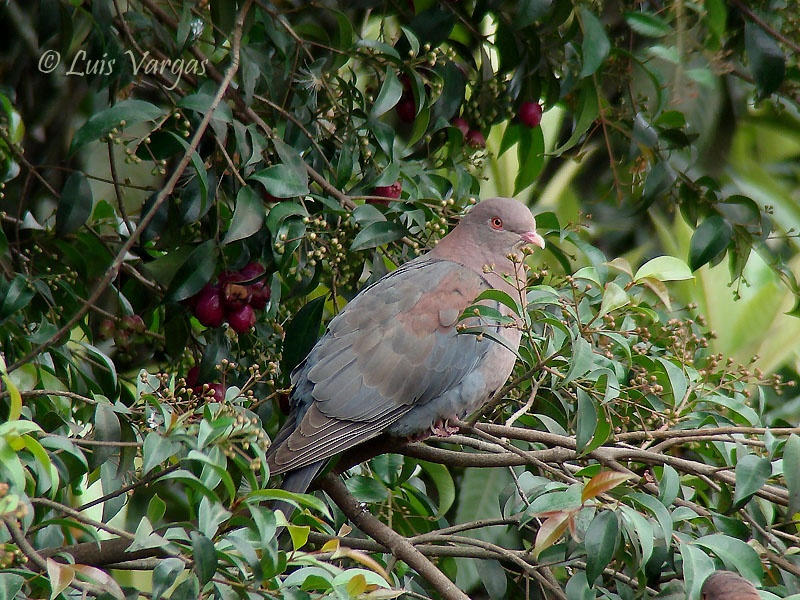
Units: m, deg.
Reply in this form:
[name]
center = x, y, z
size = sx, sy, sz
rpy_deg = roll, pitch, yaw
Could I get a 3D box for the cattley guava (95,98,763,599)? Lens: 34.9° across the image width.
[cattley guava]
center = 0.360, 0.277, 4.995
size = 1.440, 1.621, 1.601
rpy_deg = -4, 45, -48
